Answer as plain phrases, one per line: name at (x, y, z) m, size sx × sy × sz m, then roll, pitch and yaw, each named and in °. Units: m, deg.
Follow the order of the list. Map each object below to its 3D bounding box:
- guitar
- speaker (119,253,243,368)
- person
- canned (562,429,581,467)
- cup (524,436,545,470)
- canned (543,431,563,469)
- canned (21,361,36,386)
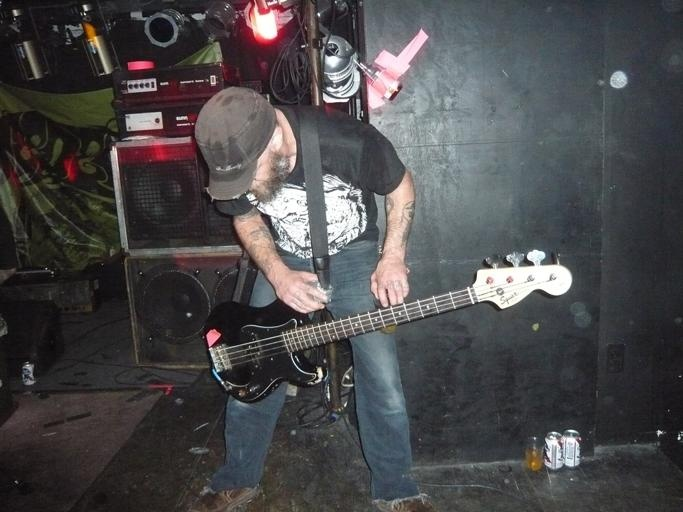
guitar at (0.018, 0.384, 3.439) m, size 2.738 × 0.826 × 0.290 m, roll -19°, pitch 13°, yaw 42°
speaker at (-1.255, 0.420, 4.722) m, size 0.877 × 0.839 × 0.505 m, roll 3°, pitch 10°, yaw 1°
person at (-0.169, 0.311, 3.576) m, size 1.309 × 2.623 × 0.643 m, roll -3°, pitch 6°, yaw 7°
canned at (1.520, 1.293, 3.922) m, size 0.121 × 0.225 × 0.131 m, roll 6°, pitch 9°, yaw 40°
cup at (1.295, 1.334, 3.966) m, size 0.125 × 0.207 × 0.126 m, roll 5°, pitch -5°, yaw 0°
canned at (1.401, 1.294, 3.881) m, size 0.122 × 0.244 × 0.087 m, roll -4°, pitch 6°, yaw -2°
canned at (-2.726, 1.028, 5.137) m, size 0.114 × 0.190 × 0.166 m, roll -7°, pitch 7°, yaw -29°
